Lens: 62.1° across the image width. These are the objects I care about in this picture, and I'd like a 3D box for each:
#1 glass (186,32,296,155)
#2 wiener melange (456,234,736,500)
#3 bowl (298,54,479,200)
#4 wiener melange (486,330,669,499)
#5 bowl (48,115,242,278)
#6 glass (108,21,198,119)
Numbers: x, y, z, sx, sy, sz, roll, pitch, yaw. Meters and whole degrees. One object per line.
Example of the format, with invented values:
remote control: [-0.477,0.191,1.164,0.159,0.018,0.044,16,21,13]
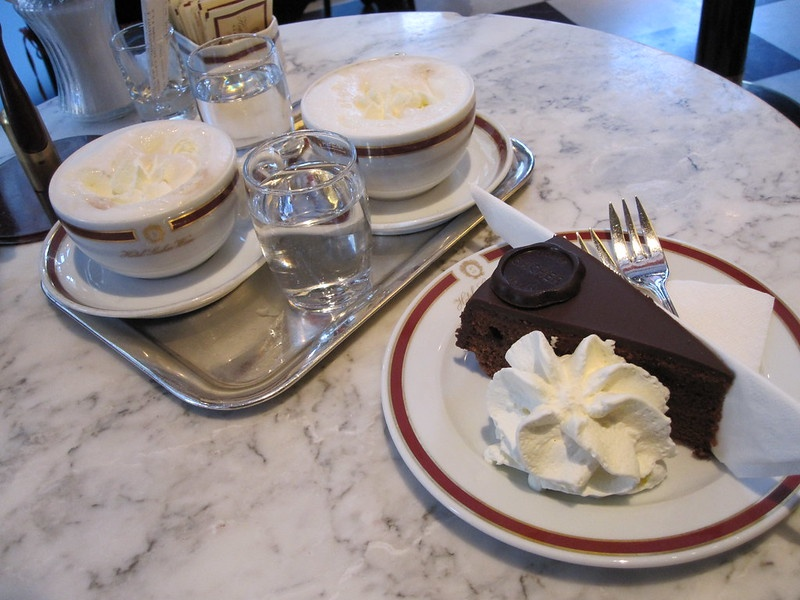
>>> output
glass: [-0.279,-0.352,1.190,0.164,0.179,0.169,-12,34,-7]
wiener melange: [0.219,0.069,0.873,0.333,0.158,0.196,37,59,26]
bowl: [0.002,-0.276,1.050,0.221,0.134,0.229,-6,45,6]
wiener melange: [0.247,0.123,0.791,0.080,0.203,0.227,-15,-4,-5]
bowl: [-0.357,-0.136,0.939,0.221,0.137,0.229,-3,45,3]
glass: [-0.457,-0.421,1.238,0.108,0.175,0.109,-29,52,-20]
